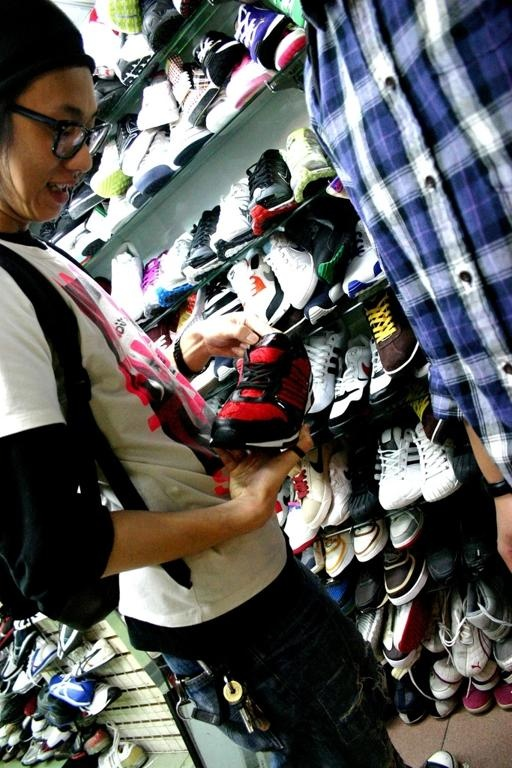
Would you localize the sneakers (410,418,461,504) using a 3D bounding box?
[{"bbox_3d":[0.422,0.189,1.363,0.075,0.098,0.226,-36,18,21],"label":"sneakers"}]

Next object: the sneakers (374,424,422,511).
[{"bbox_3d":[0.381,0.226,1.449,0.084,0.107,0.233,-25,28,32],"label":"sneakers"}]

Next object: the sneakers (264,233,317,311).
[{"bbox_3d":[0.092,-0.317,1.524,0.091,0.099,0.251,-51,34,26],"label":"sneakers"}]

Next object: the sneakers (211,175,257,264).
[{"bbox_3d":[-0.056,-0.469,1.550,0.091,0.118,0.266,-30,20,42],"label":"sneakers"}]

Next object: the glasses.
[{"bbox_3d":[-0.266,-0.349,0.729,0.117,0.127,0.034,-18,-39,-48],"label":"glasses"}]

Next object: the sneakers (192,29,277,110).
[{"bbox_3d":[-0.074,-0.828,1.433,0.109,0.148,0.323,-58,27,16],"label":"sneakers"}]

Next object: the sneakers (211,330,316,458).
[{"bbox_3d":[0.026,0.014,0.956,0.127,0.155,0.361,0,18,19],"label":"sneakers"}]

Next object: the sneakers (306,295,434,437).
[{"bbox_3d":[0.339,-0.098,1.449,0.172,0.224,0.518,-37,7,34],"label":"sneakers"}]

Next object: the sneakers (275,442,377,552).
[{"bbox_3d":[0.210,0.306,1.691,0.131,0.177,0.395,-55,1,32],"label":"sneakers"}]

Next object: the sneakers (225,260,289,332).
[{"bbox_3d":[-0.033,-0.275,1.609,0.135,0.305,0.103,-6,-38,-30],"label":"sneakers"}]
